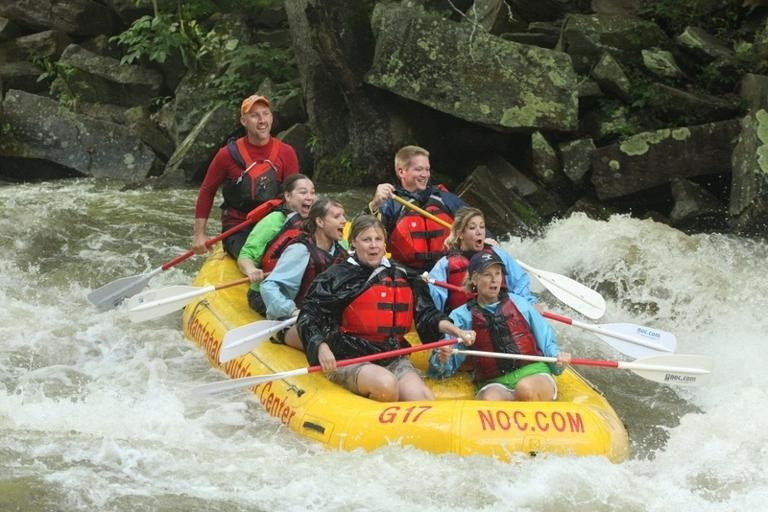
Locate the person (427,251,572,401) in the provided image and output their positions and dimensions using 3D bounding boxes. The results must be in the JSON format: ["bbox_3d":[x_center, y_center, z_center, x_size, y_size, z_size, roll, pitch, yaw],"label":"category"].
[{"bbox_3d":[1.040,0.700,8.814,0.880,0.732,1.292,-11,71,-7],"label":"person"}]

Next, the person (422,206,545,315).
[{"bbox_3d":[0.904,0.136,9.063,1.032,1.463,0.865,-8,110,-19],"label":"person"}]

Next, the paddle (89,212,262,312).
[{"bbox_3d":[-2.288,0.102,10.324,1.936,0.091,0.301,-33,102,-6],"label":"paddle"}]

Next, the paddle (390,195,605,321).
[{"bbox_3d":[1.185,0.062,9.841,2.132,0.079,0.308,38,49,5],"label":"paddle"}]

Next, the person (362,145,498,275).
[{"bbox_3d":[0.458,0.070,9.749,1.177,0.795,2.374,-4,91,-17],"label":"person"}]

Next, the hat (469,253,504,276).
[{"bbox_3d":[0.940,0.069,8.666,0.189,0.256,0.135,-12,83,-39],"label":"hat"}]
